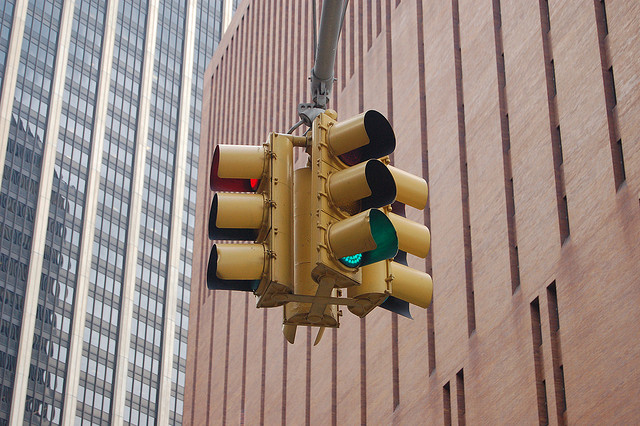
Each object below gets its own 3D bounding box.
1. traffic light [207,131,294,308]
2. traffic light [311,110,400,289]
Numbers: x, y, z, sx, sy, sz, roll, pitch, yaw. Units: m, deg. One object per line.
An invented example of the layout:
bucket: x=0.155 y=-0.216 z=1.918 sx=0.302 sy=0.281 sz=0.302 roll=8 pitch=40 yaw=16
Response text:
traffic light: x=-0.927 y=0.079 z=13.372 sx=1.136 sy=2.258 sz=0.937 roll=0 pitch=7 yaw=-4
traffic light: x=0.438 y=-0.174 z=13.250 sx=1.126 sy=2.311 sz=0.939 roll=1 pitch=7 yaw=-2
